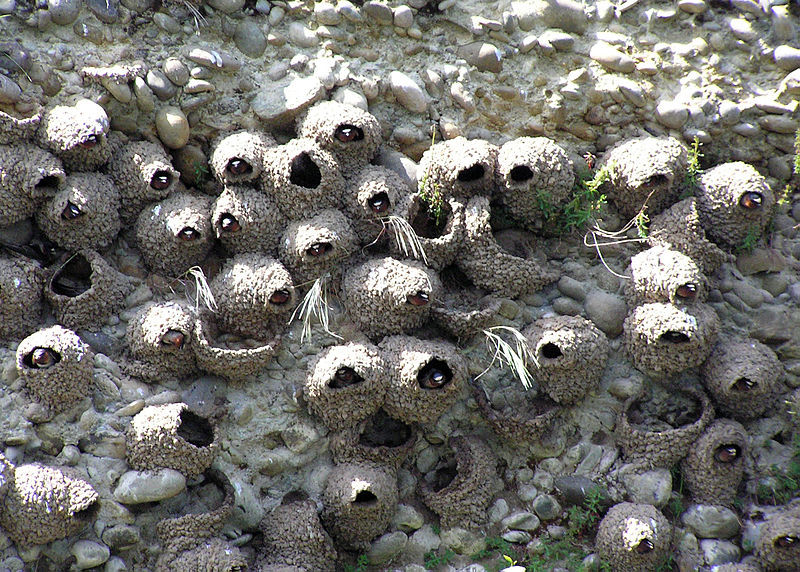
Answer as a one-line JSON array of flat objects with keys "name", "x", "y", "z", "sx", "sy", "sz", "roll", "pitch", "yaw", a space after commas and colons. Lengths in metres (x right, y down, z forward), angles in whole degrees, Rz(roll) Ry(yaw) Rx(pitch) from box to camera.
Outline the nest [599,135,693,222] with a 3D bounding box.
[{"name": "nest", "x": 1.685, "y": -0.780, "z": 6.849, "sx": 0.509, "sy": 0.585, "sz": 0.240, "roll": 8, "pitch": 24, "yaw": -8}]

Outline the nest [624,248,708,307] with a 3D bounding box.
[{"name": "nest", "x": 1.860, "y": -0.121, "z": 6.884, "sx": 0.575, "sy": 0.220, "sz": 0.708, "roll": 6, "pitch": 24, "yaw": 17}]

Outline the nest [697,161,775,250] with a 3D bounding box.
[{"name": "nest", "x": 2.413, "y": -0.563, "z": 6.854, "sx": 0.503, "sy": 0.633, "sz": 0.256, "roll": 13, "pitch": -28, "yaw": 6}]

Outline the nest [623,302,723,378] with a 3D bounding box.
[{"name": "nest", "x": 1.844, "y": 0.357, "z": 6.692, "sx": 0.622, "sy": 0.461, "sz": 0.341, "roll": 3, "pitch": -17, "yaw": -2}]

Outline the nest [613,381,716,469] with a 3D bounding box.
[{"name": "nest", "x": 1.808, "y": 0.991, "z": 6.673, "sx": 0.585, "sy": 0.483, "sz": 0.236, "roll": -27, "pitch": -32, "yaw": -6}]

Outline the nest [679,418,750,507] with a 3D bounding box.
[{"name": "nest", "x": 2.077, "y": 1.175, "z": 6.723, "sx": 0.392, "sy": 0.565, "sz": 0.243, "roll": 20, "pitch": 3, "yaw": -17}]
